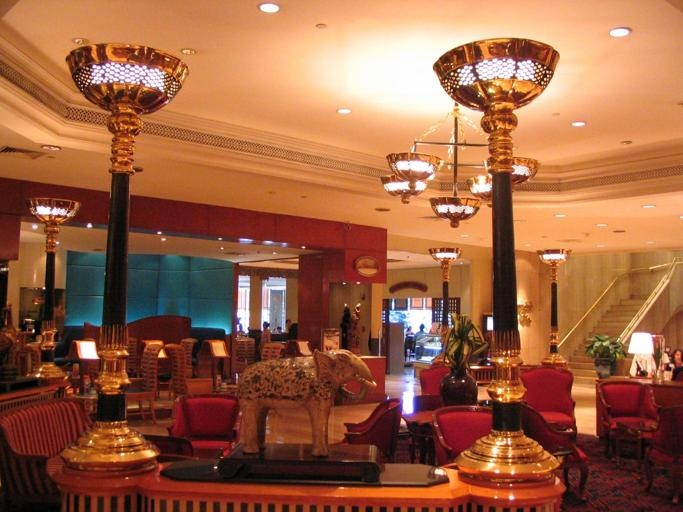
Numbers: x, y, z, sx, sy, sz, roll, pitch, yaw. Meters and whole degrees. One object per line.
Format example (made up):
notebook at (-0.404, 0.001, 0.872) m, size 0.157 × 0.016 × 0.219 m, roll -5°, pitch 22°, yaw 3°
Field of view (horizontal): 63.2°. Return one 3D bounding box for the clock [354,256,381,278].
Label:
clock at (0.547, 0.229, 11.884) m, size 0.659 × 0.460 × 0.112 m, roll 2°, pitch -5°, yaw -39°

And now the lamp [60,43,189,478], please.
lamp at (-1.315, 0.016, 3.302) m, size 0.744 × 2.469 × 0.469 m, roll -4°, pitch -4°, yaw 23°

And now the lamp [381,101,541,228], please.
lamp at (1.345, -1.075, 6.513) m, size 1.812 × 1.506 × 1.818 m, roll 1°, pitch -6°, yaw 3°

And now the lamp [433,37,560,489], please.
lamp at (0.999, 0.091, 3.430) m, size 1.036 × 2.578 × 0.950 m, roll -2°, pitch 5°, yaw 1°

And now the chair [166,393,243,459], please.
chair at (-1.474, 1.839, 6.042) m, size 0.648 × 0.721 × 0.643 m, roll 1°, pitch -12°, yaw -2°
